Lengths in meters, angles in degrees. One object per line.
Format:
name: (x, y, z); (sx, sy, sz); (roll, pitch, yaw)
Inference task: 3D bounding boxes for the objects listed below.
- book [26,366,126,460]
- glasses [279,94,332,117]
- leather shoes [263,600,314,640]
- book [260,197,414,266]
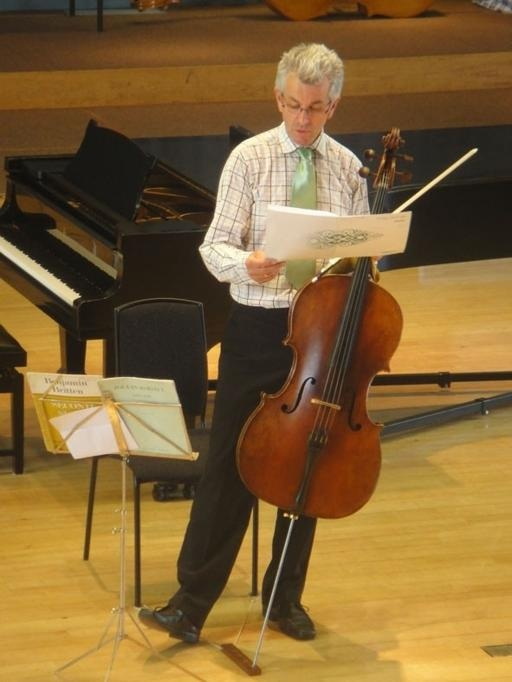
book: (-0.445, 0.151, 1.836); (0.242, 0.198, 0.058); (4, 32, 6)
glasses: (0.111, -0.544, 1.797); (0.078, 0.025, 0.084); (1, -9, 0)
leather shoes: (0.098, 0.828, 2.287); (0.067, 0.063, 0.187); (10, -2, -34)
book: (0.181, -0.220, 1.596); (0.187, 0.121, 0.386); (11, 7, 39)
